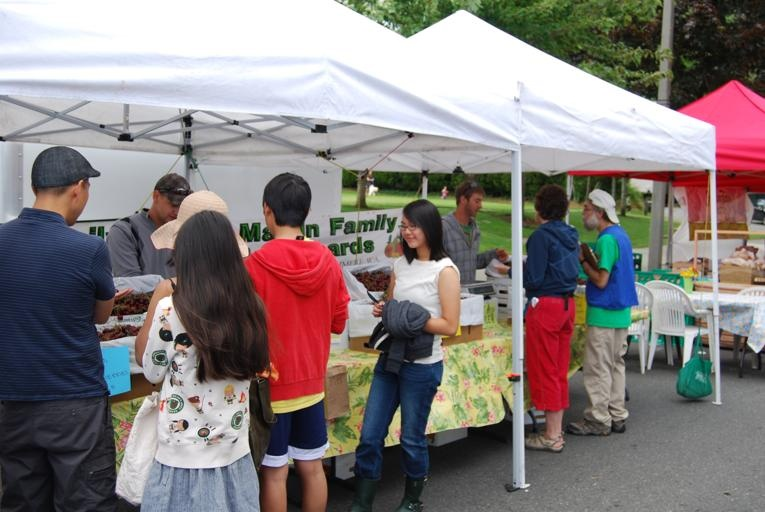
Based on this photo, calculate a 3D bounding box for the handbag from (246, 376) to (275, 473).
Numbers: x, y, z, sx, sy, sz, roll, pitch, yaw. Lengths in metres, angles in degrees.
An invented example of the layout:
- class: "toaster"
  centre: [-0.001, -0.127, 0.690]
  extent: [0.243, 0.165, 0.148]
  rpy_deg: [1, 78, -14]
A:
- class: "handbag"
  centre: [-0.701, 0.956, 3.571]
  extent: [0.108, 0.570, 0.249]
  rpy_deg: [3, 7, 18]

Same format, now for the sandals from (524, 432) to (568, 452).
- class: "sandals"
  centre: [1.650, 1.837, 6.092]
  extent: [0.404, 0.184, 0.160]
  rpy_deg: [5, 4, 32]

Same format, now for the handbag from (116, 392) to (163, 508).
- class: "handbag"
  centre: [-1.362, 1.082, 3.367]
  extent: [0.316, 0.675, 0.183]
  rpy_deg: [7, 9, 44]

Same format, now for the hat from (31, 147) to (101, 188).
- class: "hat"
  centre: [-1.794, -0.483, 3.455]
  extent: [0.224, 0.183, 0.306]
  rpy_deg: [19, 26, 33]

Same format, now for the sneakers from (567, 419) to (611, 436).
- class: "sneakers"
  centre: [2.236, 1.865, 6.615]
  extent: [0.442, 0.225, 0.190]
  rpy_deg: [5, -2, 9]

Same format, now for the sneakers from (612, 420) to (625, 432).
- class: "sneakers"
  centre: [2.585, 1.873, 6.687]
  extent: [0.100, 0.146, 0.141]
  rpy_deg: [-3, 3, -28]

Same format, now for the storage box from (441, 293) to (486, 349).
- class: "storage box"
  centre: [0.762, 0.554, 5.263]
  extent: [0.413, 0.420, 0.419]
  rpy_deg: [-3, 3, -43]

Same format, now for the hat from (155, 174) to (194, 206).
- class: "hat"
  centre: [-1.747, -0.534, 4.960]
  extent: [0.278, 0.254, 0.233]
  rpy_deg: [-11, 0, 38]
